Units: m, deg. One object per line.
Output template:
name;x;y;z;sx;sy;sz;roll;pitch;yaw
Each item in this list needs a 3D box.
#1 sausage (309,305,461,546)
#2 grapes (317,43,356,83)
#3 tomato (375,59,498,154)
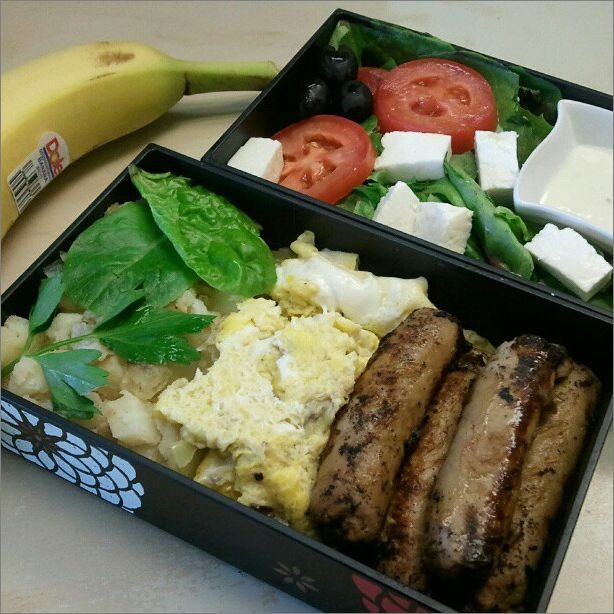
sausage;0.143;0.225;1.327;0.176;0.171;0.553;19;57;26
grapes;0.091;-0.730;1.965;0.107;0.094;0.125;1;9;3
tomato;0.386;-0.613;1.982;0.354;0.148;0.333;0;47;-3
